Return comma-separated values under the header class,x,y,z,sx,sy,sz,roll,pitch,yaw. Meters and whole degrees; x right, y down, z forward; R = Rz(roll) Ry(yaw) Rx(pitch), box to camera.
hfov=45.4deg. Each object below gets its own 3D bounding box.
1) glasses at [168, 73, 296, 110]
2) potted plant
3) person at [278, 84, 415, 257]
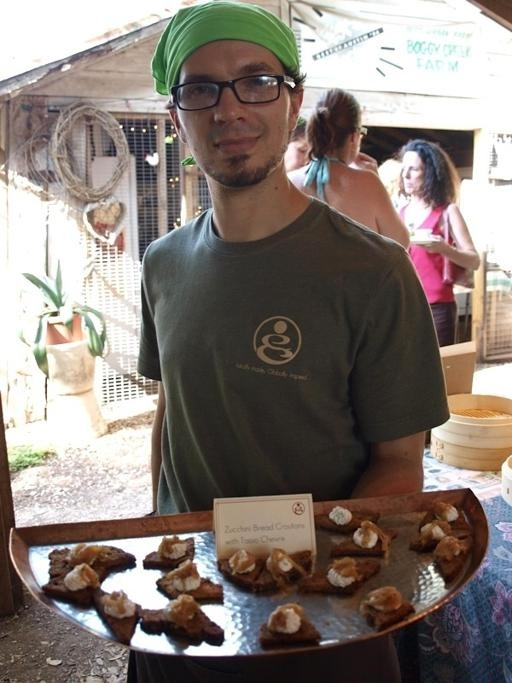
class,x,y,z,sx,sy,sz,roll,pitch,yaw
glasses,-0.043,-0.412,1.015,0.175,0.054,0.048,-1,10,8
potted plant,-1.521,-0.181,4.838,0.659,0.845,0.492,-5,10,-15
person,0.341,-0.670,2.513,0.490,0.766,0.484,-6,15,-38
